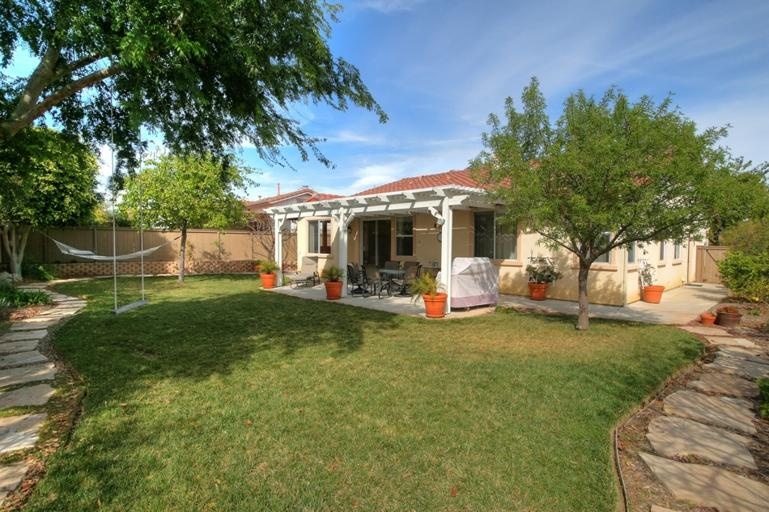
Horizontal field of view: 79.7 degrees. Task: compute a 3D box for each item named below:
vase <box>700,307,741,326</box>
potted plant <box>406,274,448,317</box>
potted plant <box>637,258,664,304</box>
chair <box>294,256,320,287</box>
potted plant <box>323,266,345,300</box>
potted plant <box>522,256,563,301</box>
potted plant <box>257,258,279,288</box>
[{"bbox_3d":[8.090,1.464,11.108,0.597,0.367,0.877,2,4,41],"label":"vase"},{"bbox_3d":[1.123,1.003,12.001,0.811,1.003,1.213,-4,7,-36],"label":"potted plant"},{"bbox_3d":[7.907,0.714,13.780,0.794,1.325,0.800,2,2,-21],"label":"potted plant"},{"bbox_3d":[-3.075,0.649,17.668,0.817,1.252,1.292,-1,3,13],"label":"chair"},{"bbox_3d":[-1.521,0.823,14.019,0.918,0.945,0.966,2,1,24],"label":"potted plant"},{"bbox_3d":[5.047,0.709,14.435,1.096,1.451,1.249,-1,-2,40],"label":"potted plant"},{"bbox_3d":[-4.200,0.738,16.722,0.576,0.831,1.125,-1,6,-14],"label":"potted plant"}]
